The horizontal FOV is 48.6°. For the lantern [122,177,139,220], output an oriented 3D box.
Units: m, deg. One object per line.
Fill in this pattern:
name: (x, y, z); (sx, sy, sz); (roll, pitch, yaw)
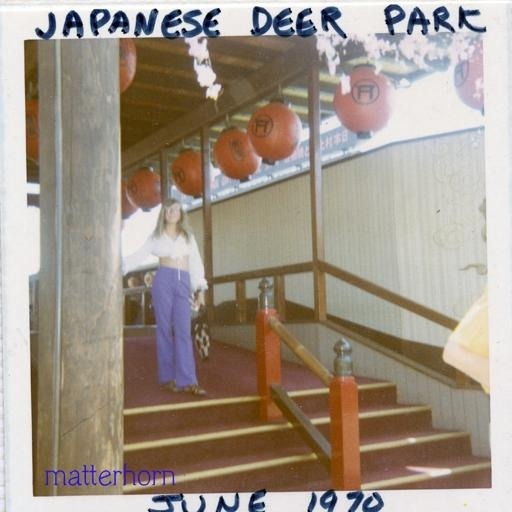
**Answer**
lantern: (-0.958, -0.442, 4.328); (0.110, 0.366, 0.517); (-1, -3, -12)

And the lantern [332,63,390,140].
lantern: (0.625, -0.860, 3.230); (0.302, 0.435, 0.332); (2, 10, 28)

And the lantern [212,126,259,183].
lantern: (-0.134, -0.686, 4.110); (0.315, 0.444, 0.308); (3, -18, -39)

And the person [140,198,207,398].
person: (-0.531, 0.272, 3.837); (0.410, 1.302, 0.357); (-1, -3, -7)

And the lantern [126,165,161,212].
lantern: (-0.854, -0.542, 4.497); (0.270, 0.395, 0.307); (6, 7, 37)

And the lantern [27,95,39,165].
lantern: (-1.043, -0.584, 2.673); (0.050, 0.314, 0.062); (-2, -2, 13)

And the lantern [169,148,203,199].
lantern: (-0.547, -0.656, 4.703); (0.279, 0.414, 0.299); (-5, 8, -23)
